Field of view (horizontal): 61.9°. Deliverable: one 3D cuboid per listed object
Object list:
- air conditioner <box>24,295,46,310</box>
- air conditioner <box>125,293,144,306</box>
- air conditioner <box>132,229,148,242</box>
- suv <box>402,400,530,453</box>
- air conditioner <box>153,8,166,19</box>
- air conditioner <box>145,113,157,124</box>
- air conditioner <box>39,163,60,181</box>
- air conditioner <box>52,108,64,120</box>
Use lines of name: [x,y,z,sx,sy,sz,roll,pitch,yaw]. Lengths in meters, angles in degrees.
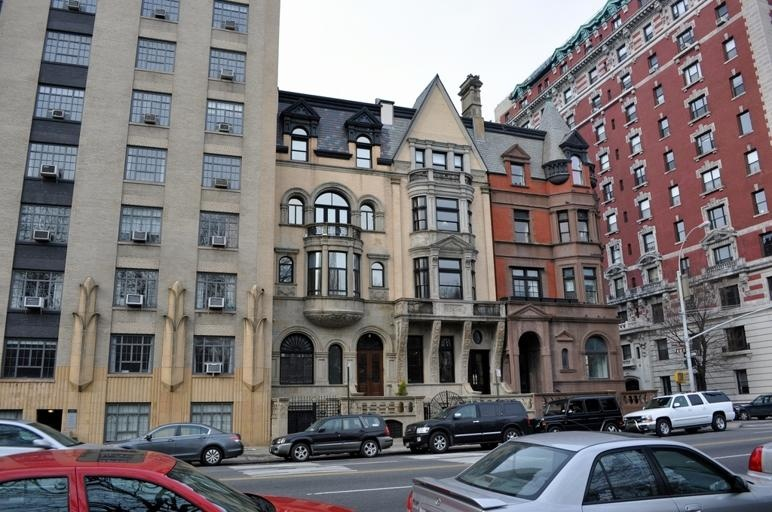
air conditioner: [-20.642,2.750,37.884,1.483,0.986,0.751,0,-10,-9]
air conditioner: [-15.301,2.617,39.193,1.251,0.795,0.643,2,-20,-9]
air conditioner: [-15.203,-1.179,39.827,1.178,0.911,0.688,3,-8,-30]
suv: [4.321,9.024,34.229,6.439,2.285,2.739,3,-23,-12]
air conditioner: [-14.902,-15.957,42.408,0.793,0.710,0.532,3,1,-14]
air conditioner: [-15.037,-8.741,41.041,0.700,0.448,0.669,-3,6,-25]
air conditioner: [-20.413,-5.195,39.156,1.076,0.983,0.623,5,-19,-19]
air conditioner: [-20.313,-8.723,40.015,1.034,0.658,0.535,1,-3,-19]
